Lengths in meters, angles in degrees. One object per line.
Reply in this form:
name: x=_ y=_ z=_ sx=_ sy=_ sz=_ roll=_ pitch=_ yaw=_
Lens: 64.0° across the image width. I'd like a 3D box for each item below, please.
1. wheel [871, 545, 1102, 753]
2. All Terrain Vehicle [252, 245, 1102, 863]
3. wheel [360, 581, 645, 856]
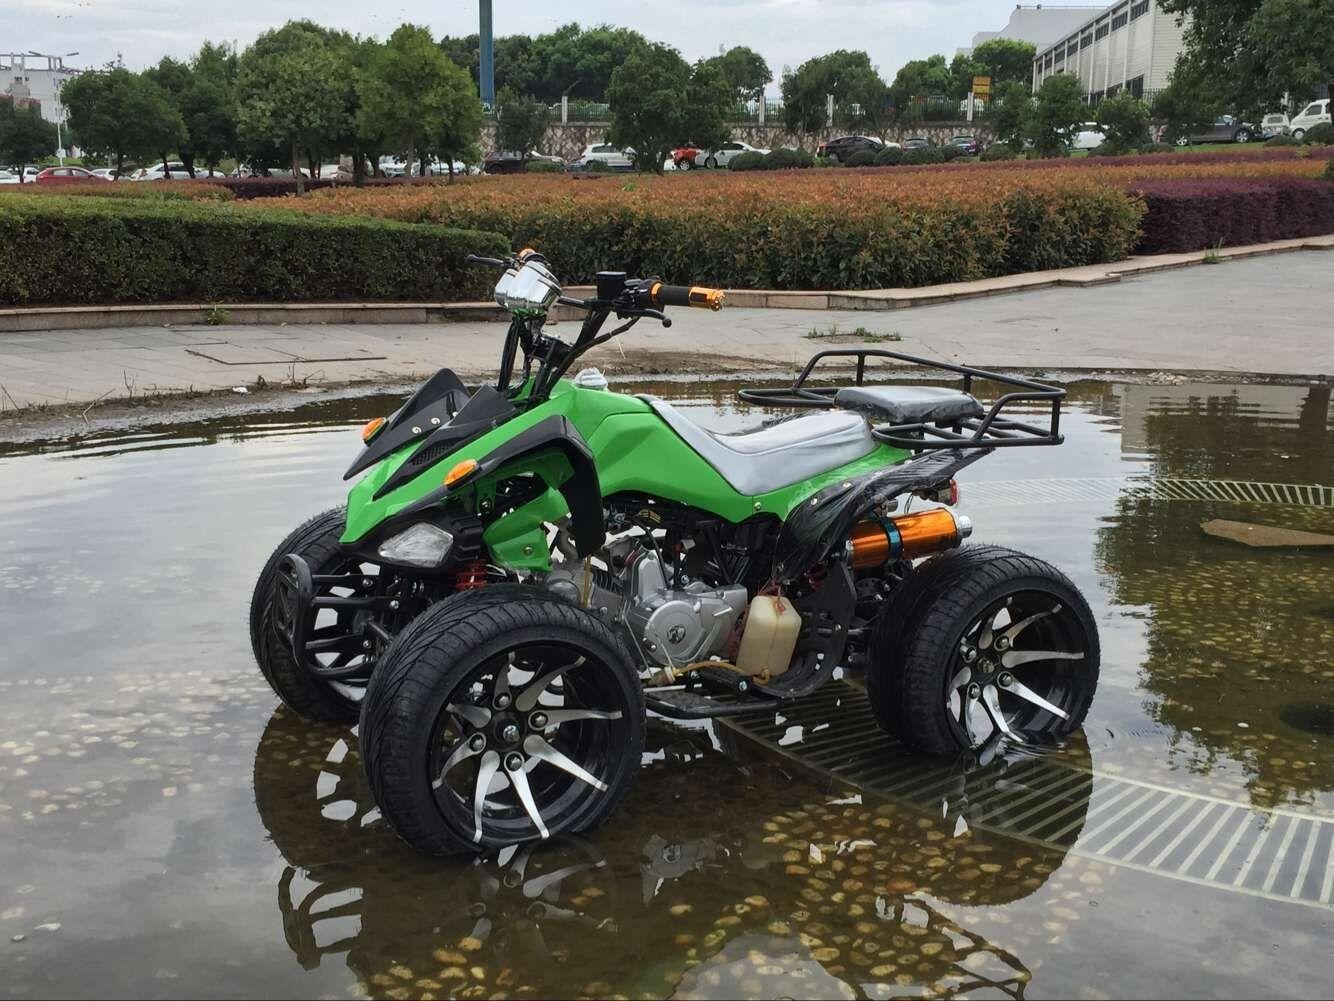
wheel: x=1.209 y=0.643 z=4.263 sx=1.064 sy=0.874 sz=0.440 roll=-13 pitch=16 yaw=-38
All Terrain Vehicle: x=-0.132 y=0.058 z=4.536 sx=3.426 sy=1.826 sz=2.001 roll=-1 pitch=7 yaw=-23
wheel: x=-0.587 y=0.769 z=3.537 sx=1.025 sy=0.844 sz=0.417 roll=-2 pitch=8 yaw=-43
